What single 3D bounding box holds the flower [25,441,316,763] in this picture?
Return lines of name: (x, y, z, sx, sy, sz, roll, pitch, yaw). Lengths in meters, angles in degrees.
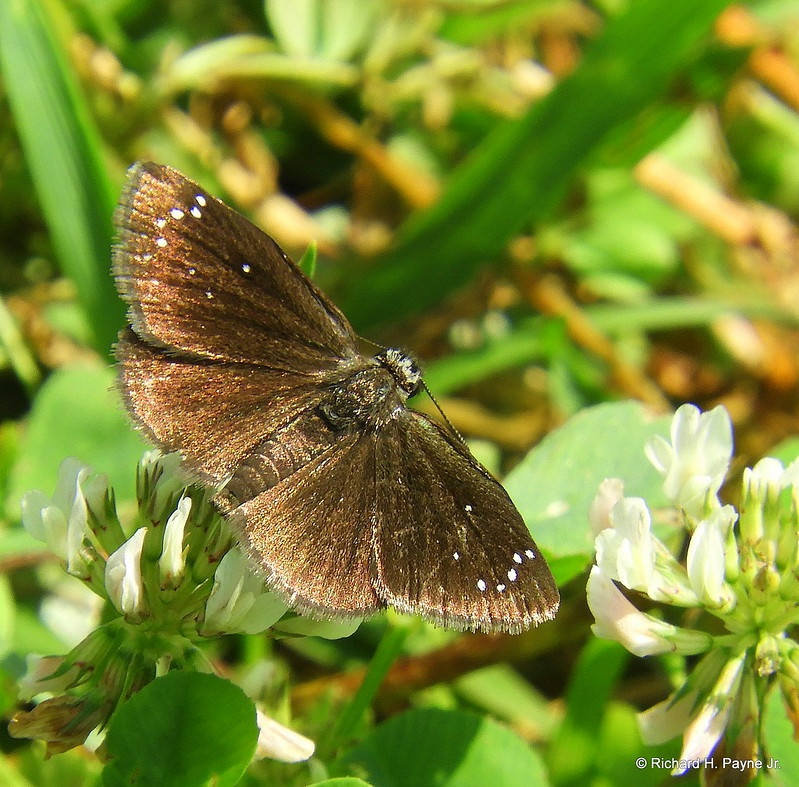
flower: (-0.316, 0.280, 1.199, 0.368, 0.418, 0.285, -4, 21, -10)
